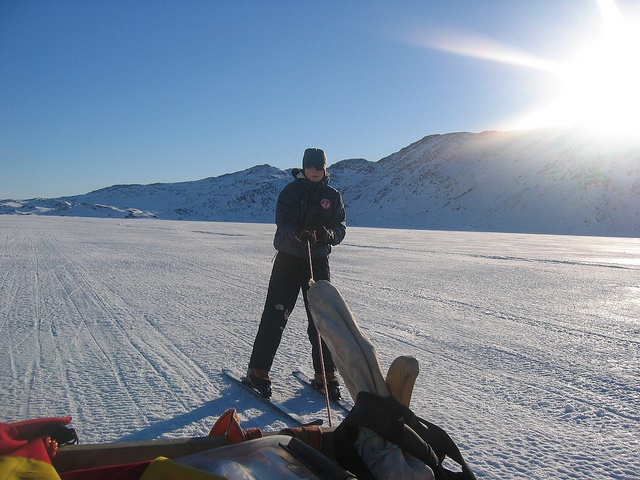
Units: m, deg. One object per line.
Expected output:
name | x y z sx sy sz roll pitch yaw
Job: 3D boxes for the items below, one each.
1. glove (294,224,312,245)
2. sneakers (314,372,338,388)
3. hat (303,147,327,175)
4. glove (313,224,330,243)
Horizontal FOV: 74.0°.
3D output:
glove | -0.163 -0.036 3.960 0.194 0.142 0.124 4 8 9
sneakers | 0.064 1.442 4.353 0.307 0.139 0.101 1 11 9
hat | -0.050 -0.758 4.051 0.225 0.216 0.477 2 7 -2
glove | -0.003 -0.049 4.072 0.102 0.160 0.239 8 9 35
